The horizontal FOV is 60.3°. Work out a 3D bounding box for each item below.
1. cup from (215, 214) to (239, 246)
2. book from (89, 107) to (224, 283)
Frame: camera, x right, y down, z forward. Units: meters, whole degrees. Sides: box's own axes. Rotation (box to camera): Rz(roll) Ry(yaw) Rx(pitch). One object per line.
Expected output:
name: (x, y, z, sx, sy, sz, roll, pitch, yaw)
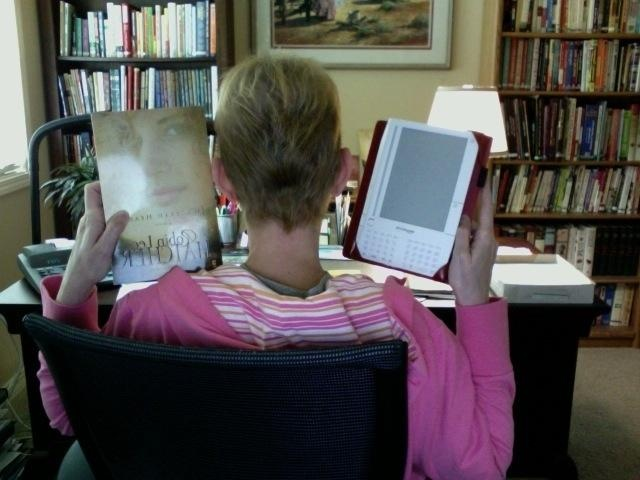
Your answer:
cup: (-0.370, -0.061, 2.230, 0.073, 0.124, 0.075, 1, 20, 0)
book: (-0.344, -0.093, 1.148, 0.289, 0.473, 0.034, -8, 25, -8)
